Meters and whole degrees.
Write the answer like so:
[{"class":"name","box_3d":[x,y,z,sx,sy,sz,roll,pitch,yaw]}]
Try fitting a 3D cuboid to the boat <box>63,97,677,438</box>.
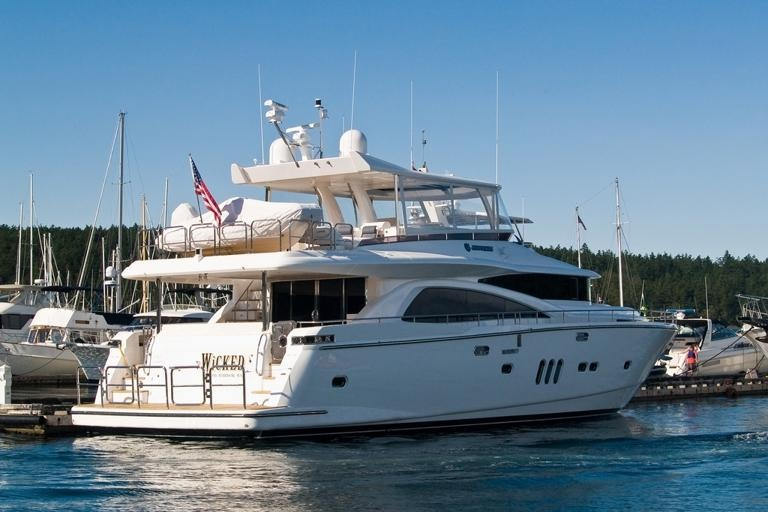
[{"class":"boat","box_3d":[1.908,1.155,44.005,19.587,7.088,8.083,0,-1,-32]}]
